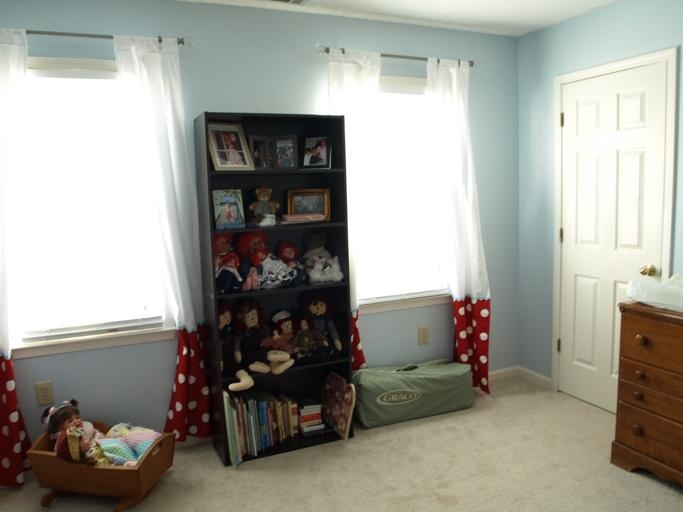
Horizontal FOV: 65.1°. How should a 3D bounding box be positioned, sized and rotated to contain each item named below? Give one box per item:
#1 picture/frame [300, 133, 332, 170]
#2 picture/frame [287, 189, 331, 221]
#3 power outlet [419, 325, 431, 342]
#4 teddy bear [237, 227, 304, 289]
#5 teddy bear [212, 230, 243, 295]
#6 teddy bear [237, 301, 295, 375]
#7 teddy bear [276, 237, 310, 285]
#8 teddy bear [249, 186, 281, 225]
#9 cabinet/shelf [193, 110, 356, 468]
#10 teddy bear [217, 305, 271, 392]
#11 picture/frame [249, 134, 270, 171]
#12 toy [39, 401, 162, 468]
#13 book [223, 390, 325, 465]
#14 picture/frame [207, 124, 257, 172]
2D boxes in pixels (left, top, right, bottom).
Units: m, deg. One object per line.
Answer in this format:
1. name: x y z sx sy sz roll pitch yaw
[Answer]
1. picture/frame: -0.165 -0.668 3.474 0.248 0.320 0.022 -1 -11 15
2. picture/frame: -0.221 -0.329 3.489 0.197 0.181 0.016 -1 2 -13
3. power outlet: 0.625 0.591 4.065 0.117 0.171 0.017 -3 7 -35
4. teddy bear: -0.459 0.021 3.410 0.387 0.341 0.206 -4 11 -15
5. teddy bear: -0.706 0.036 3.336 0.163 0.350 0.250 -3 11 -12
6. teddy bear: -0.512 0.522 3.396 0.393 0.458 0.353 5 14 23
7. teddy bear: -0.336 0.046 3.504 0.174 0.306 0.113 -14 -15 -33
8. teddy bear: -0.496 -0.323 3.424 0.194 0.216 0.261 -3 11 -7
9. cabinet/shelf: -0.372 0.171 3.409 0.816 2.110 0.376 -3 13 -9
10. teddy bear: -0.630 0.622 3.433 0.336 0.538 0.211 14 -33 -23
11. picture/frame: -0.518 -0.656 3.425 0.118 0.223 0.018 3 32 3
12. toy: -1.359 1.042 3.026 0.560 0.248 0.345 4 7 8
13. book: -0.486 1.071 3.400 0.396 0.197 0.513 -4 3 -27
14. picture/frame: -0.684 -0.651 3.268 0.304 0.368 0.025 -7 -17 -42
